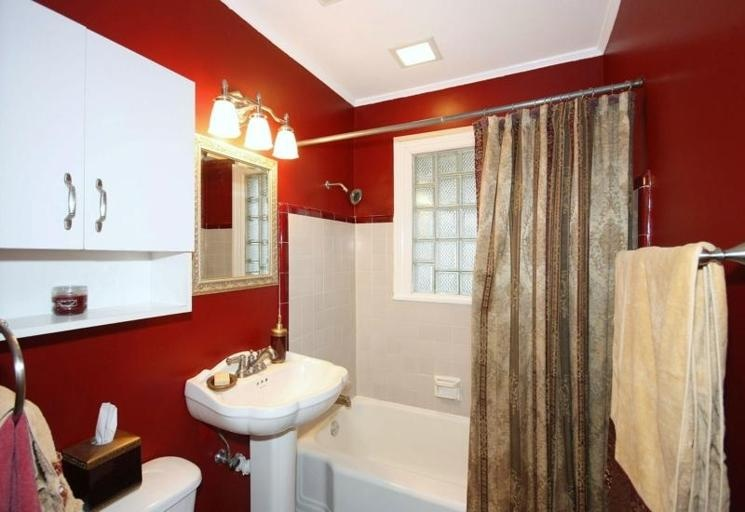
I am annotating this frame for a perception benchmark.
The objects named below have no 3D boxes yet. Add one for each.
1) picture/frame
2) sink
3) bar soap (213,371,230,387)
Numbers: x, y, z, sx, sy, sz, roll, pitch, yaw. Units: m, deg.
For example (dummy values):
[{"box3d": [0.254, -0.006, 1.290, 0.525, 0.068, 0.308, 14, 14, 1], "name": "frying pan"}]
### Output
[{"box3d": [-0.710, -0.211, 2.838, 0.065, 0.989, 0.844, 1, 2, 25], "name": "picture/frame"}, {"box3d": [-0.482, 0.655, 2.750, 0.545, 0.278, 0.668, -1, 3, 37], "name": "sink"}, {"box3d": [-0.699, 0.580, 2.622, 0.073, 0.048, 0.059, -4, 2, -17], "name": "bar soap"}]
